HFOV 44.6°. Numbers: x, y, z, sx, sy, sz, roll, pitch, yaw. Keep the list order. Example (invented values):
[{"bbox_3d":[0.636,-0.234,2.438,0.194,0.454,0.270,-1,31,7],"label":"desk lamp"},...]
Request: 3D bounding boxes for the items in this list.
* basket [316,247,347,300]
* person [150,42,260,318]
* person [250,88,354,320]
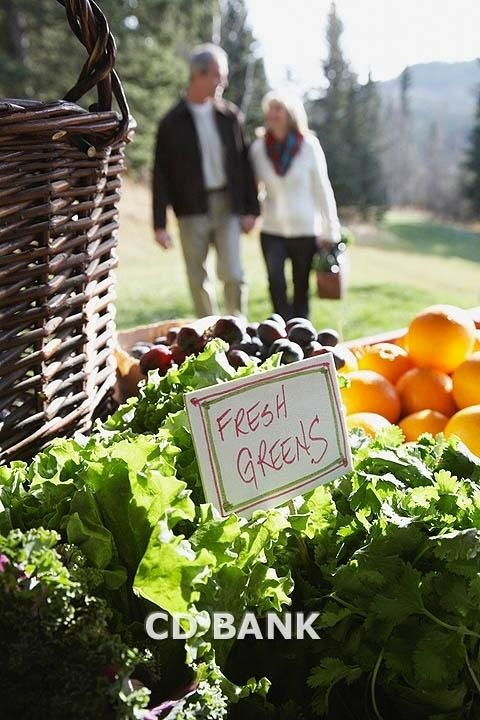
[{"bbox_3d":[0.650,-0.693,4.458,0.303,0.554,0.299,1,41,7],"label":"basket"},{"bbox_3d":[-0.184,-0.951,3.187,0.581,1.466,0.311,-3,14,-9],"label":"person"},{"bbox_3d":[0.239,-0.794,3.347,0.651,1.352,0.380,-5,24,-2],"label":"person"}]
